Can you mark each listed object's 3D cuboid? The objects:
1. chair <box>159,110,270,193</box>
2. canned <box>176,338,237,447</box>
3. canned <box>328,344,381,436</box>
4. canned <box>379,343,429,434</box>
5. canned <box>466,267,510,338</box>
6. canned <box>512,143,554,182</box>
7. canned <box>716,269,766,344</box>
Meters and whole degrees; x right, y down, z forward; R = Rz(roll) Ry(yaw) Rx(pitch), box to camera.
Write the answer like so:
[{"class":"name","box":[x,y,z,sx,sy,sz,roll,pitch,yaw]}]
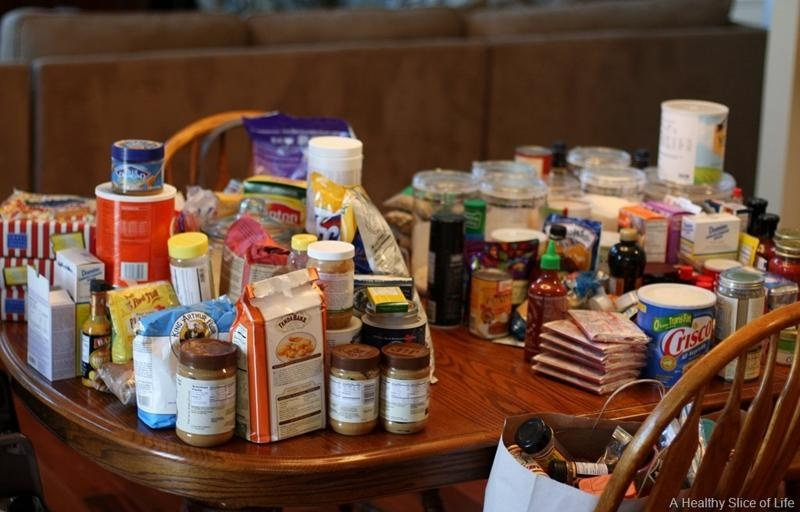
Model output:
[{"class":"chair","box":[-0.696,-0.352,2.473,0.274,0.332,1.489,-8,12,-18]},{"class":"canned","box":[-0.348,0.251,1.262,0.112,0.163,0.109,4,5,5]},{"class":"canned","box":[-0.088,0.258,1.314,0.128,0.142,0.123,2,1,5]},{"class":"canned","box":[0.007,0.257,1.320,0.100,0.145,0.101,4,3,42]},{"class":"canned","box":[0.219,0.116,1.644,0.101,0.137,0.100,9,12,42]},{"class":"canned","box":[0.391,-0.279,2.034,0.108,0.108,0.100,8,20,16]},{"class":"canned","box":[0.759,0.122,1.544,0.108,0.161,0.107,8,21,35]}]
